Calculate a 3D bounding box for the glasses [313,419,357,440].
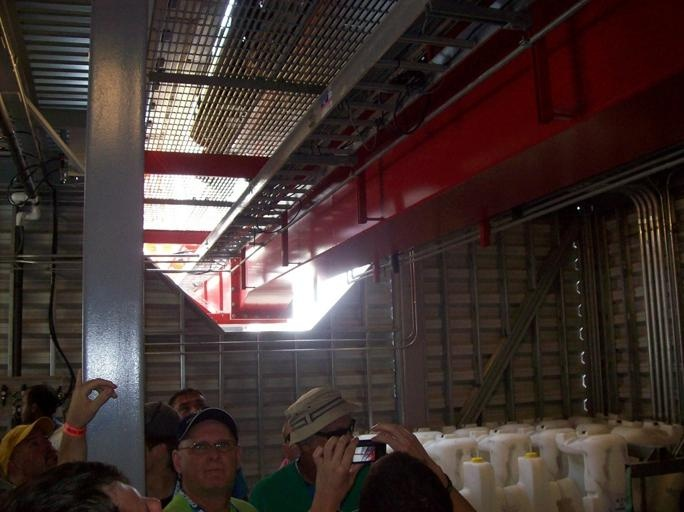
[{"bbox_3d":[0.002,1.031,3.518,0.189,0.061,0.195,3,-13,-36],"label":"glasses"}]
